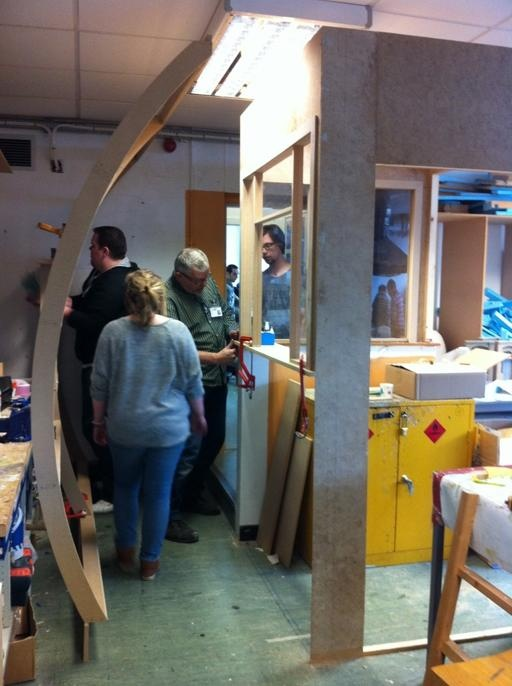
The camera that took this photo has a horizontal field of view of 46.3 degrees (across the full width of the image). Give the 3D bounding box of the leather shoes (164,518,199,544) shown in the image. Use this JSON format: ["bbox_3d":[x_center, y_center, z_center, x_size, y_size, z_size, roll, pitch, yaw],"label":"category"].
[{"bbox_3d":[-0.450,1.112,3.542,0.235,0.098,0.088,-3,-5,44],"label":"leather shoes"}]

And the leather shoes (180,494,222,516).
[{"bbox_3d":[-0.358,1.070,3.987,0.278,0.192,0.093,-4,7,-19],"label":"leather shoes"}]

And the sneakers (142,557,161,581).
[{"bbox_3d":[-0.524,1.130,3.018,0.065,0.084,0.124,1,19,0],"label":"sneakers"}]

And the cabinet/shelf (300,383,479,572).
[{"bbox_3d":[0.886,0.820,3.325,0.955,0.871,0.486,-17,-34,40],"label":"cabinet/shelf"}]

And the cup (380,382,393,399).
[{"bbox_3d":[0.674,0.250,3.096,0.073,0.074,0.072,2,1,0],"label":"cup"}]

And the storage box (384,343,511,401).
[{"bbox_3d":[1.063,0.184,3.163,0.757,0.246,0.456,-2,5,-29],"label":"storage box"}]
